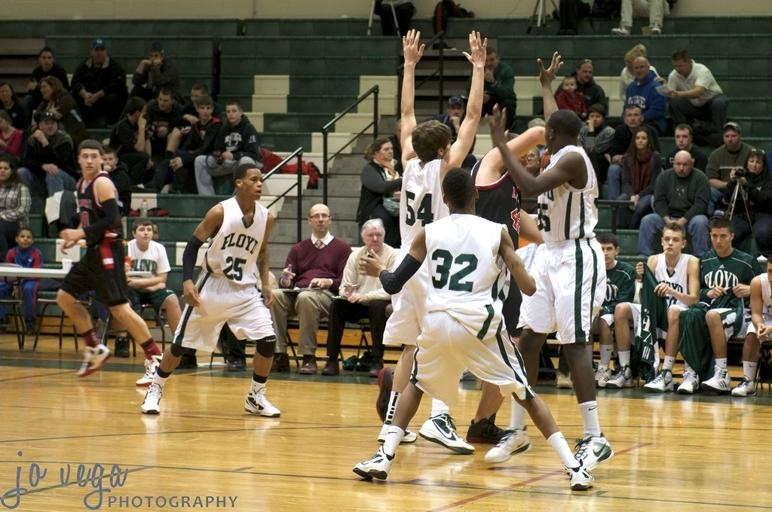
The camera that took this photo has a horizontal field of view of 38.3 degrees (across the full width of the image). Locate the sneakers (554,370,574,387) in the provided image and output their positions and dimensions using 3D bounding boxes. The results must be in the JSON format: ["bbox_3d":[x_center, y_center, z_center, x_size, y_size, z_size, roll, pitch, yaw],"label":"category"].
[{"bbox_3d":[2.107,1.483,13.509,0.170,0.189,0.422,-1,10,-11],"label":"sneakers"}]

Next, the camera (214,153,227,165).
[{"bbox_3d":[-2.518,-1.507,17.055,0.148,0.164,0.059,4,31,4],"label":"camera"}]

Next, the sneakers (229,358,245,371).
[{"bbox_3d":[-1.943,1.378,14.256,0.257,0.151,0.259,0,10,-4],"label":"sneakers"}]

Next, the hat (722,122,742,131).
[{"bbox_3d":[4.739,-1.801,15.316,0.175,0.101,0.237,5,11,24],"label":"hat"}]

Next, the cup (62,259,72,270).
[{"bbox_3d":[-4.093,0.099,14.229,0.127,0.106,0.129,0,-6,0],"label":"cup"}]

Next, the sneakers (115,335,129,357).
[{"bbox_3d":[-3.614,1.226,15.182,0.222,0.305,0.678,0,-4,-12],"label":"sneakers"}]

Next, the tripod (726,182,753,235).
[{"bbox_3d":[4.650,-0.707,14.732,0.348,0.652,0.219,1,9,4],"label":"tripod"}]

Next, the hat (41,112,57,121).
[{"bbox_3d":[-5.297,-2.218,17.491,0.290,0.159,0.399,-2,10,-16],"label":"hat"}]
